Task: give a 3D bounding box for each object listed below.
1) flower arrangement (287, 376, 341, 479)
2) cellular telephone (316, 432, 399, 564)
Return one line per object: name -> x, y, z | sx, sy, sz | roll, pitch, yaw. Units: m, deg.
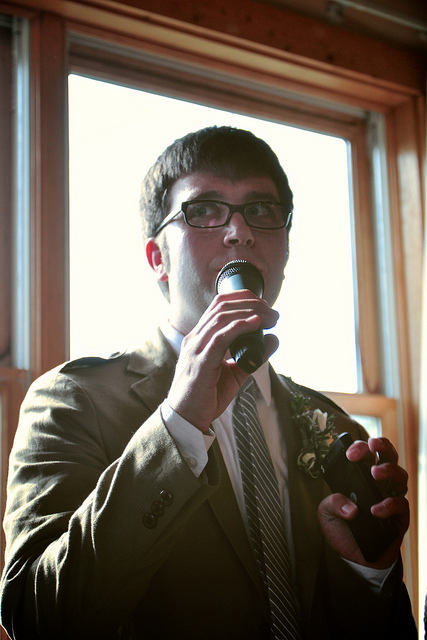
flower arrangement -> 0.219, 0.223, 1.332 | 0.076, 0.065, 0.169 | -41, -26, -2
cellular telephone -> 0.271, 0.332, 1.124 | 0.076, 0.240, 0.133 | 0, -2, -29
